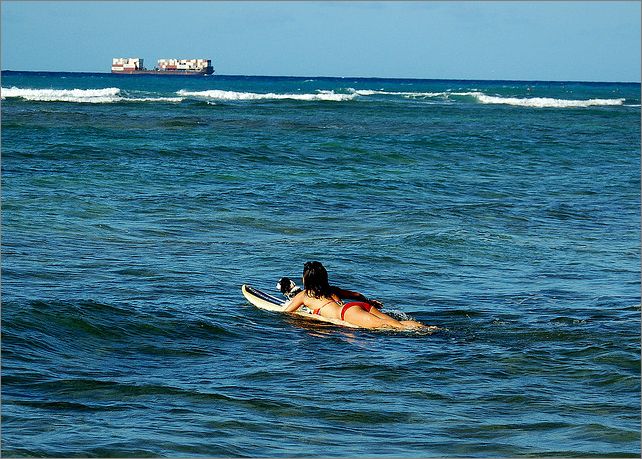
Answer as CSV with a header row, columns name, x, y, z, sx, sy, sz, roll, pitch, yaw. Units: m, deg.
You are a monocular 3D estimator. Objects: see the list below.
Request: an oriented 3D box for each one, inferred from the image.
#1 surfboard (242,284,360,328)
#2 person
name,x,y,z,sx,sy,sz,roll,pitch,yaw
surfboard,-0.766,1.273,19.762,2.989,0.232,0.612,8,17,26
person,0.619,1.195,19.248,2.800,0.793,1.340,8,13,36
